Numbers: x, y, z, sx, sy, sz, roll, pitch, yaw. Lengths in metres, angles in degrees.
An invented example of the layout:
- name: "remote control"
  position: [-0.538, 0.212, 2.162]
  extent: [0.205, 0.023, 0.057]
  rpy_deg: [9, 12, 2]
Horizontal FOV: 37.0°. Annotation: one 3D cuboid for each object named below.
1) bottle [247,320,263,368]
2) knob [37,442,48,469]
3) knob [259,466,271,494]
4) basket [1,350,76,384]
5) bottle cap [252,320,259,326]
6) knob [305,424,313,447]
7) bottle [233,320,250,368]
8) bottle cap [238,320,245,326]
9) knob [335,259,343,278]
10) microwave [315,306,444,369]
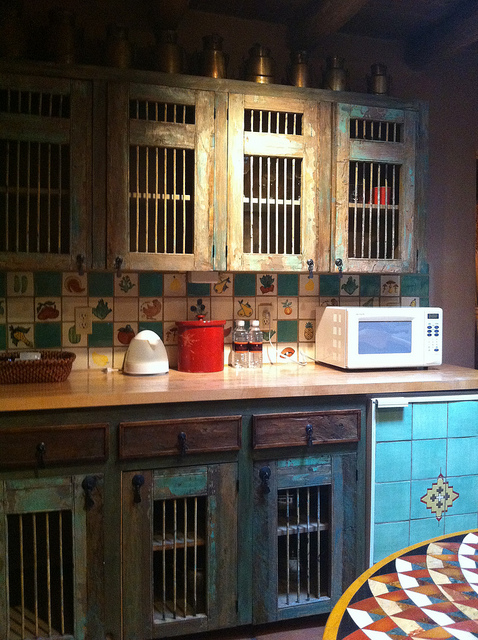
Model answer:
- name: "bottle"
  position: [0.062, 0.095, 2.958]
  extent: [0.066, 0.194, 0.198]
  rpy_deg: [-1, 1, 1]
- name: "knob"
  position: [-0.607, 0.418, 2.193]
  extent: [0.021, 0.063, 0.032]
  rpy_deg: [-1, 1, 26]
- name: "knob"
  position: [0.086, 0.538, 2.408]
  extent: [0.046, 0.091, 0.020]
  rpy_deg: [-2, 1, -24]
- name: "basket"
  position: [-0.735, 0.163, 2.596]
  extent: [0.257, 0.088, 0.327]
  rpy_deg: [-2, 2, -16]
- name: "bottle cap"
  position: [0.061, 0.009, 2.909]
  extent: [0.017, 0.017, 0.018]
  rpy_deg: [7, 9, 42]
- name: "knob"
  position: [0.236, 0.394, 2.444]
  extent: [0.024, 0.072, 0.019]
  rpy_deg: [-1, 1, -8]
- name: "bottle"
  position: [0.004, 0.095, 2.932]
  extent: [0.066, 0.191, 0.185]
  rpy_deg: [-1, 1, 0]
- name: "bottle cap"
  position: [0.006, 0.009, 2.868]
  extent: [0.016, 0.021, 0.019]
  rpy_deg: [0, 7, 1]
- name: "knob"
  position: [0.395, -0.213, 2.853]
  extent: [0.029, 0.061, 0.120]
  rpy_deg: [-1, 1, 9]
- name: "microwave"
  position: [0.565, 0.063, 2.926]
  extent: [0.455, 0.252, 0.394]
  rpy_deg: [-2, 1, -15]
